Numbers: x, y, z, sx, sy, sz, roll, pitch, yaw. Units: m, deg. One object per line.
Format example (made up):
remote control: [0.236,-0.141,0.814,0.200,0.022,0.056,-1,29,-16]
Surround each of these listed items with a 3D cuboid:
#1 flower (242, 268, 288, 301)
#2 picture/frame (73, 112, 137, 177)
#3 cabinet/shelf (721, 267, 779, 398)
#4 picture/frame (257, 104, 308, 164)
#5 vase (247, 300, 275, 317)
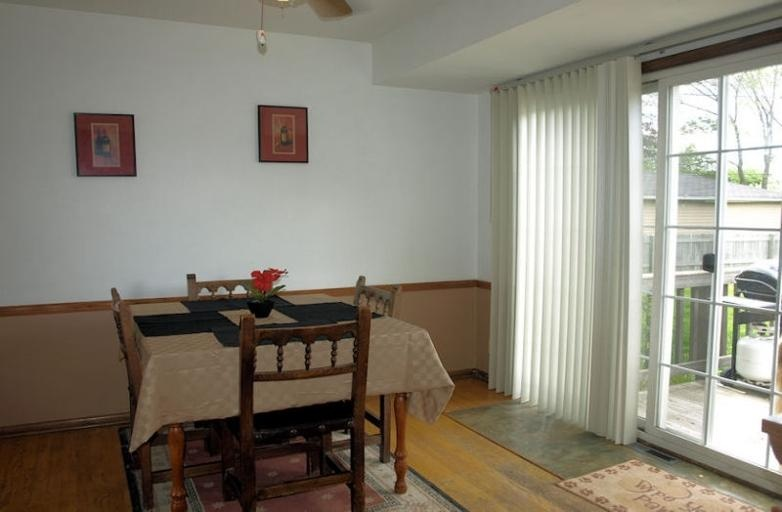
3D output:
flower: [-0.919,0.179,4.098,0.326,0.210,0.329,2,1,-18]
picture/frame: [-2.408,-0.999,4.659,0.571,0.634,0.024,-2,5,-14]
cabinet/shelf: [2.498,0.463,3.877,0.314,0.863,0.155,11,17,39]
picture/frame: [-1.011,-1.190,5.100,0.592,0.632,0.046,0,-3,-25]
vase: [-0.928,0.333,3.978,0.152,0.090,0.151,-4,-3,3]
